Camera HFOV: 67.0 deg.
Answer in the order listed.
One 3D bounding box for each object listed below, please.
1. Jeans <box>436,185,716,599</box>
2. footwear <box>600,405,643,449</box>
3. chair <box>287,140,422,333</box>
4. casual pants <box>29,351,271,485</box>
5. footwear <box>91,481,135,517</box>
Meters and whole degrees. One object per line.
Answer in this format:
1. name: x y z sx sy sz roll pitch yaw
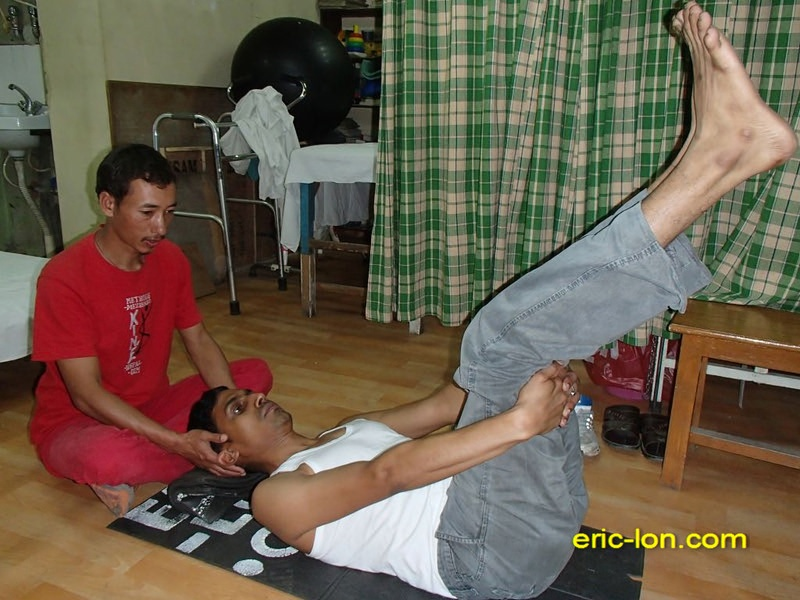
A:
1. Jeans: 0.340 0.225 1.687 0.592 1.041 0.337 33 6 -4
2. footwear: 0.896 0.485 2.417 0.142 0.133 0.343 6 8 19
3. chair: -0.570 -0.391 3.559 1.036 1.000 0.924 -8 5 -37
4. casual pants: -0.839 0.397 1.931 0.520 0.153 0.471 3 23 14
5. footwear: -0.898 0.625 1.905 0.115 0.112 0.046 31 63 8
